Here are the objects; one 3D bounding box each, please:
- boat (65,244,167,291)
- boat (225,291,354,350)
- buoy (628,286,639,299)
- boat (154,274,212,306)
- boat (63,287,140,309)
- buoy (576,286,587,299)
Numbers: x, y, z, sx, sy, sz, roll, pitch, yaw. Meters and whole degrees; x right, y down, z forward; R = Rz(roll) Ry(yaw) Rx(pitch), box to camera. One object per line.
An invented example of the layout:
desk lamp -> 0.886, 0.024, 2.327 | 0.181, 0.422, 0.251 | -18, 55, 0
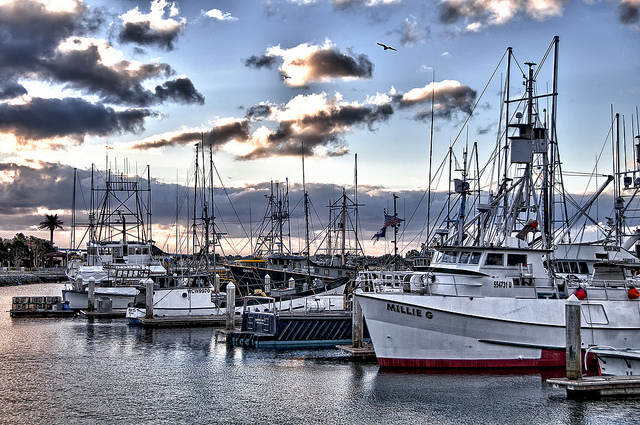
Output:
boat -> -17.808, 4.676, 81.964 | 8.007, 3.772, 4.845 | -2, 0, -27
boat -> -1.580, 7.131, 58.312 | 6.133, 2.080, 4.245 | -1, -4, -15
buoy -> 16.774, 4.315, 50.862 | 0.456, 0.609, 0.332 | -3, -7, 37
boat -> -9.899, 5.728, 68.907 | 3.166, 2.496, 5.524 | -9, 6, 1
boat -> -17.505, 6.628, 75.875 | 5.049, 1.144, 2.843 | 1, -5, -2
buoy -> 13.200, 4.075, 48.066 | 0.633, 0.724, 0.392 | 6, 12, 25
